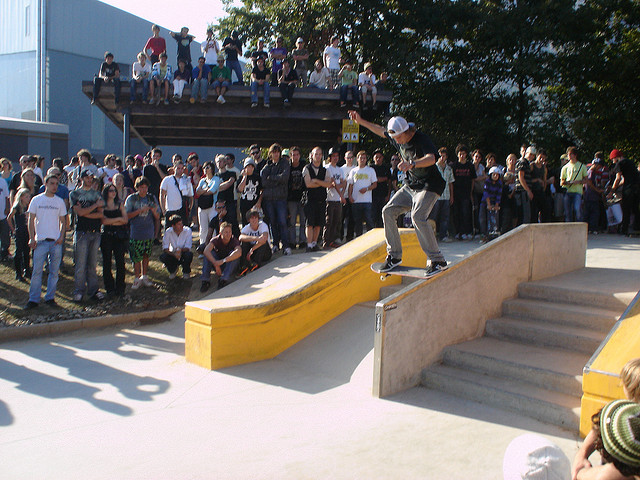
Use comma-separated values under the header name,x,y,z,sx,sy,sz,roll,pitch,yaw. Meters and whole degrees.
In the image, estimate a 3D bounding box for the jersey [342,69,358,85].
name,x,y,z,sx,sy,sz,roll,pitch,yaw
jersey,0.847,-4.670,18.784,0.475,0.439,0.275,-1,7,-12

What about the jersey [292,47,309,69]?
name,x,y,z,sx,sy,sz,roll,pitch,yaw
jersey,-0.615,-5.384,19.393,0.439,0.612,1.033,0,7,-4

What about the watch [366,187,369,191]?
name,x,y,z,sx,sy,sz,roll,pitch,yaw
watch,1.028,-1.132,14.382,0.059,0.074,0.017,6,-6,-23

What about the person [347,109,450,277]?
name,x,y,z,sx,sy,sz,roll,pitch,yaw
person,1.421,-0.674,10.252,1.148,2.450,0.698,2,6,20

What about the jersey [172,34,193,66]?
name,x,y,z,sx,sy,sz,roll,pitch,yaw
jersey,-3.969,-5.562,18.943,0.504,0.855,0.912,-1,7,-11

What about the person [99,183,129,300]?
name,x,y,z,sx,sy,sz,roll,pitch,yaw
person,-4.243,-0.003,13.393,0.572,2.307,0.522,-2,6,-21

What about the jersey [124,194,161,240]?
name,x,y,z,sx,sy,sz,roll,pitch,yaw
jersey,-3.788,-0.474,13.775,0.774,1.089,0.344,-4,2,-44

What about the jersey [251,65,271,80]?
name,x,y,z,sx,sy,sz,roll,pitch,yaw
jersey,-1.685,-4.767,18.649,0.541,0.408,0.276,-4,7,-28

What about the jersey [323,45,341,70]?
name,x,y,z,sx,sy,sz,roll,pitch,yaw
jersey,0.349,-5.316,19.106,0.421,0.652,0.523,-1,7,-5

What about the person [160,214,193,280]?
name,x,y,z,sx,sy,sz,roll,pitch,yaw
person,-3.109,0.142,14.053,0.641,1.381,0.595,-2,6,-16

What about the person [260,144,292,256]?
name,x,y,z,sx,sy,sz,roll,pitch,yaw
person,-0.958,-0.884,14.328,0.688,2.371,0.665,0,6,3

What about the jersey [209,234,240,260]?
name,x,y,z,sx,sy,sz,roll,pitch,yaw
jersey,-2.018,0.105,13.697,0.649,0.805,0.409,3,5,6

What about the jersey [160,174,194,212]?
name,x,y,z,sx,sy,sz,roll,pitch,yaw
jersey,-3.236,-1.084,14.950,0.797,0.923,0.367,4,-1,1

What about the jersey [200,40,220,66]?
name,x,y,z,sx,sy,sz,roll,pitch,yaw
jersey,-3.192,-5.398,18.917,0.474,0.720,0.521,-1,7,-9

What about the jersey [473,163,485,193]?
name,x,y,z,sx,sy,sz,roll,pitch,yaw
jersey,3.904,-1.491,15.885,0.412,0.571,0.378,10,-12,-31

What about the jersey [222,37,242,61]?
name,x,y,z,sx,sy,sz,roll,pitch,yaw
jersey,-2.605,-5.607,19.242,0.546,0.701,0.524,-2,7,-13

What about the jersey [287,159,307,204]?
name,x,y,z,sx,sy,sz,roll,pitch,yaw
jersey,-0.554,-1.265,14.347,0.162,0.674,0.588,3,0,-17

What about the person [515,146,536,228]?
name,x,y,z,sx,sy,sz,roll,pitch,yaw
person,4.699,-1.224,15.048,0.426,1.793,0.748,2,7,21

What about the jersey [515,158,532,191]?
name,x,y,z,sx,sy,sz,roll,pitch,yaw
jersey,4.598,-1.554,14.905,0.455,0.998,0.763,0,2,19

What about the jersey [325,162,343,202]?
name,x,y,z,sx,sy,sz,roll,pitch,yaw
jersey,0.303,-1.244,14.324,0.389,0.791,0.414,-1,6,-7

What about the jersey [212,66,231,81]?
name,x,y,z,sx,sy,sz,roll,pitch,yaw
jersey,-2.850,-4.755,18.603,0.498,0.488,0.335,2,23,0

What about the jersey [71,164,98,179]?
name,x,y,z,sx,sy,sz,roll,pitch,yaw
jersey,-5.260,-1.523,14.561,0.427,0.524,0.269,3,-15,-2

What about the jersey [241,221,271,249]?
name,x,y,z,sx,sy,sz,roll,pitch,yaw
jersey,-1.344,-0.232,13.781,0.619,0.752,0.381,-3,3,-29

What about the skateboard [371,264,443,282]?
name,x,y,z,sx,sy,sz,roll,pitch,yaw
skateboard,1.346,0.493,10.398,0.298,0.169,0.997,-13,16,-39

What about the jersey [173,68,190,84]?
name,x,y,z,sx,sy,sz,roll,pitch,yaw
jersey,-3.896,-4.593,18.377,0.460,0.546,0.268,-5,10,-26

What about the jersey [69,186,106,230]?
name,x,y,z,sx,sy,sz,roll,pitch,yaw
jersey,-4.698,-0.612,13.139,0.654,0.960,0.438,-8,17,-34

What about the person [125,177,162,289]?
name,x,y,z,sx,sy,sz,roll,pitch,yaw
person,-3.772,-0.170,13.833,0.684,2.293,0.524,-2,6,-21

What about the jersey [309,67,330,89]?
name,x,y,z,sx,sy,sz,roll,pitch,yaw
jersey,-0.025,-4.713,19.024,0.565,0.626,0.398,0,6,-2

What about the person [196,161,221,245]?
name,x,y,z,sx,sy,sz,roll,pitch,yaw
person,-2.485,-0.722,14.512,0.509,2.037,0.491,6,12,28

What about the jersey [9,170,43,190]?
name,x,y,z,sx,sy,sz,roll,pitch,yaw
jersey,-6.834,-1.418,15.311,0.739,0.433,0.598,2,7,12

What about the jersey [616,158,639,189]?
name,x,y,z,sx,sy,sz,roll,pitch,yaw
jersey,7.288,-1.579,15.462,0.563,0.653,0.301,0,6,3

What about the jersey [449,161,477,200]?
name,x,y,z,sx,sy,sz,roll,pitch,yaw
jersey,3.408,-1.379,15.724,0.714,1.068,0.352,0,-10,13

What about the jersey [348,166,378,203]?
name,x,y,z,sx,sy,sz,roll,pitch,yaw
jersey,0.927,-1.203,14.538,0.659,1.006,0.353,0,-13,12

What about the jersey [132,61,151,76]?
name,x,y,z,sx,sy,sz,roll,pitch,yaw
jersey,-4.997,-4.780,18.297,0.480,0.424,0.476,-3,7,-21

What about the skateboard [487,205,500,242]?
name,x,y,z,sx,sy,sz,roll,pitch,yaw
skateboard,4.014,-0.422,15.185,0.240,0.814,0.472,1,6,13

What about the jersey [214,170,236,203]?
name,x,y,z,sx,sy,sz,roll,pitch,yaw
jersey,-2.180,-1.146,14.408,0.494,0.791,0.367,-2,-4,7

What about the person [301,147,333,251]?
name,x,y,z,sx,sy,sz,roll,pitch,yaw
person,-0.086,-0.879,14.168,0.607,2.205,0.377,0,6,-3

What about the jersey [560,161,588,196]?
name,x,y,z,sx,sy,sz,roll,pitch,yaw
jersey,6.119,-1.488,15.748,0.697,1.168,0.405,-1,0,22

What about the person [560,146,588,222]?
name,x,y,z,sx,sy,sz,roll,pitch,yaw
person,6.084,-1.335,15.750,0.586,1.773,0.693,3,7,28

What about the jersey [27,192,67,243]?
name,x,y,z,sx,sy,sz,roll,pitch,yaw
jersey,-5.259,-0.405,12.595,0.645,0.952,0.451,-1,-16,-19

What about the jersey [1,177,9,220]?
name,x,y,z,sx,sy,sz,roll,pitch,yaw
jersey,-6.923,-0.903,14.274,0.113,0.871,0.490,-2,7,-17

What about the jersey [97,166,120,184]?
name,x,y,z,sx,sy,sz,roll,pitch,yaw
jersey,-5.003,-1.524,15.356,0.246,0.517,0.477,-5,7,37

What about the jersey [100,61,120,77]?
name,x,y,z,sx,sy,sz,roll,pitch,yaw
jersey,-5.849,-4.727,18.134,0.439,0.445,0.322,-3,7,-22
